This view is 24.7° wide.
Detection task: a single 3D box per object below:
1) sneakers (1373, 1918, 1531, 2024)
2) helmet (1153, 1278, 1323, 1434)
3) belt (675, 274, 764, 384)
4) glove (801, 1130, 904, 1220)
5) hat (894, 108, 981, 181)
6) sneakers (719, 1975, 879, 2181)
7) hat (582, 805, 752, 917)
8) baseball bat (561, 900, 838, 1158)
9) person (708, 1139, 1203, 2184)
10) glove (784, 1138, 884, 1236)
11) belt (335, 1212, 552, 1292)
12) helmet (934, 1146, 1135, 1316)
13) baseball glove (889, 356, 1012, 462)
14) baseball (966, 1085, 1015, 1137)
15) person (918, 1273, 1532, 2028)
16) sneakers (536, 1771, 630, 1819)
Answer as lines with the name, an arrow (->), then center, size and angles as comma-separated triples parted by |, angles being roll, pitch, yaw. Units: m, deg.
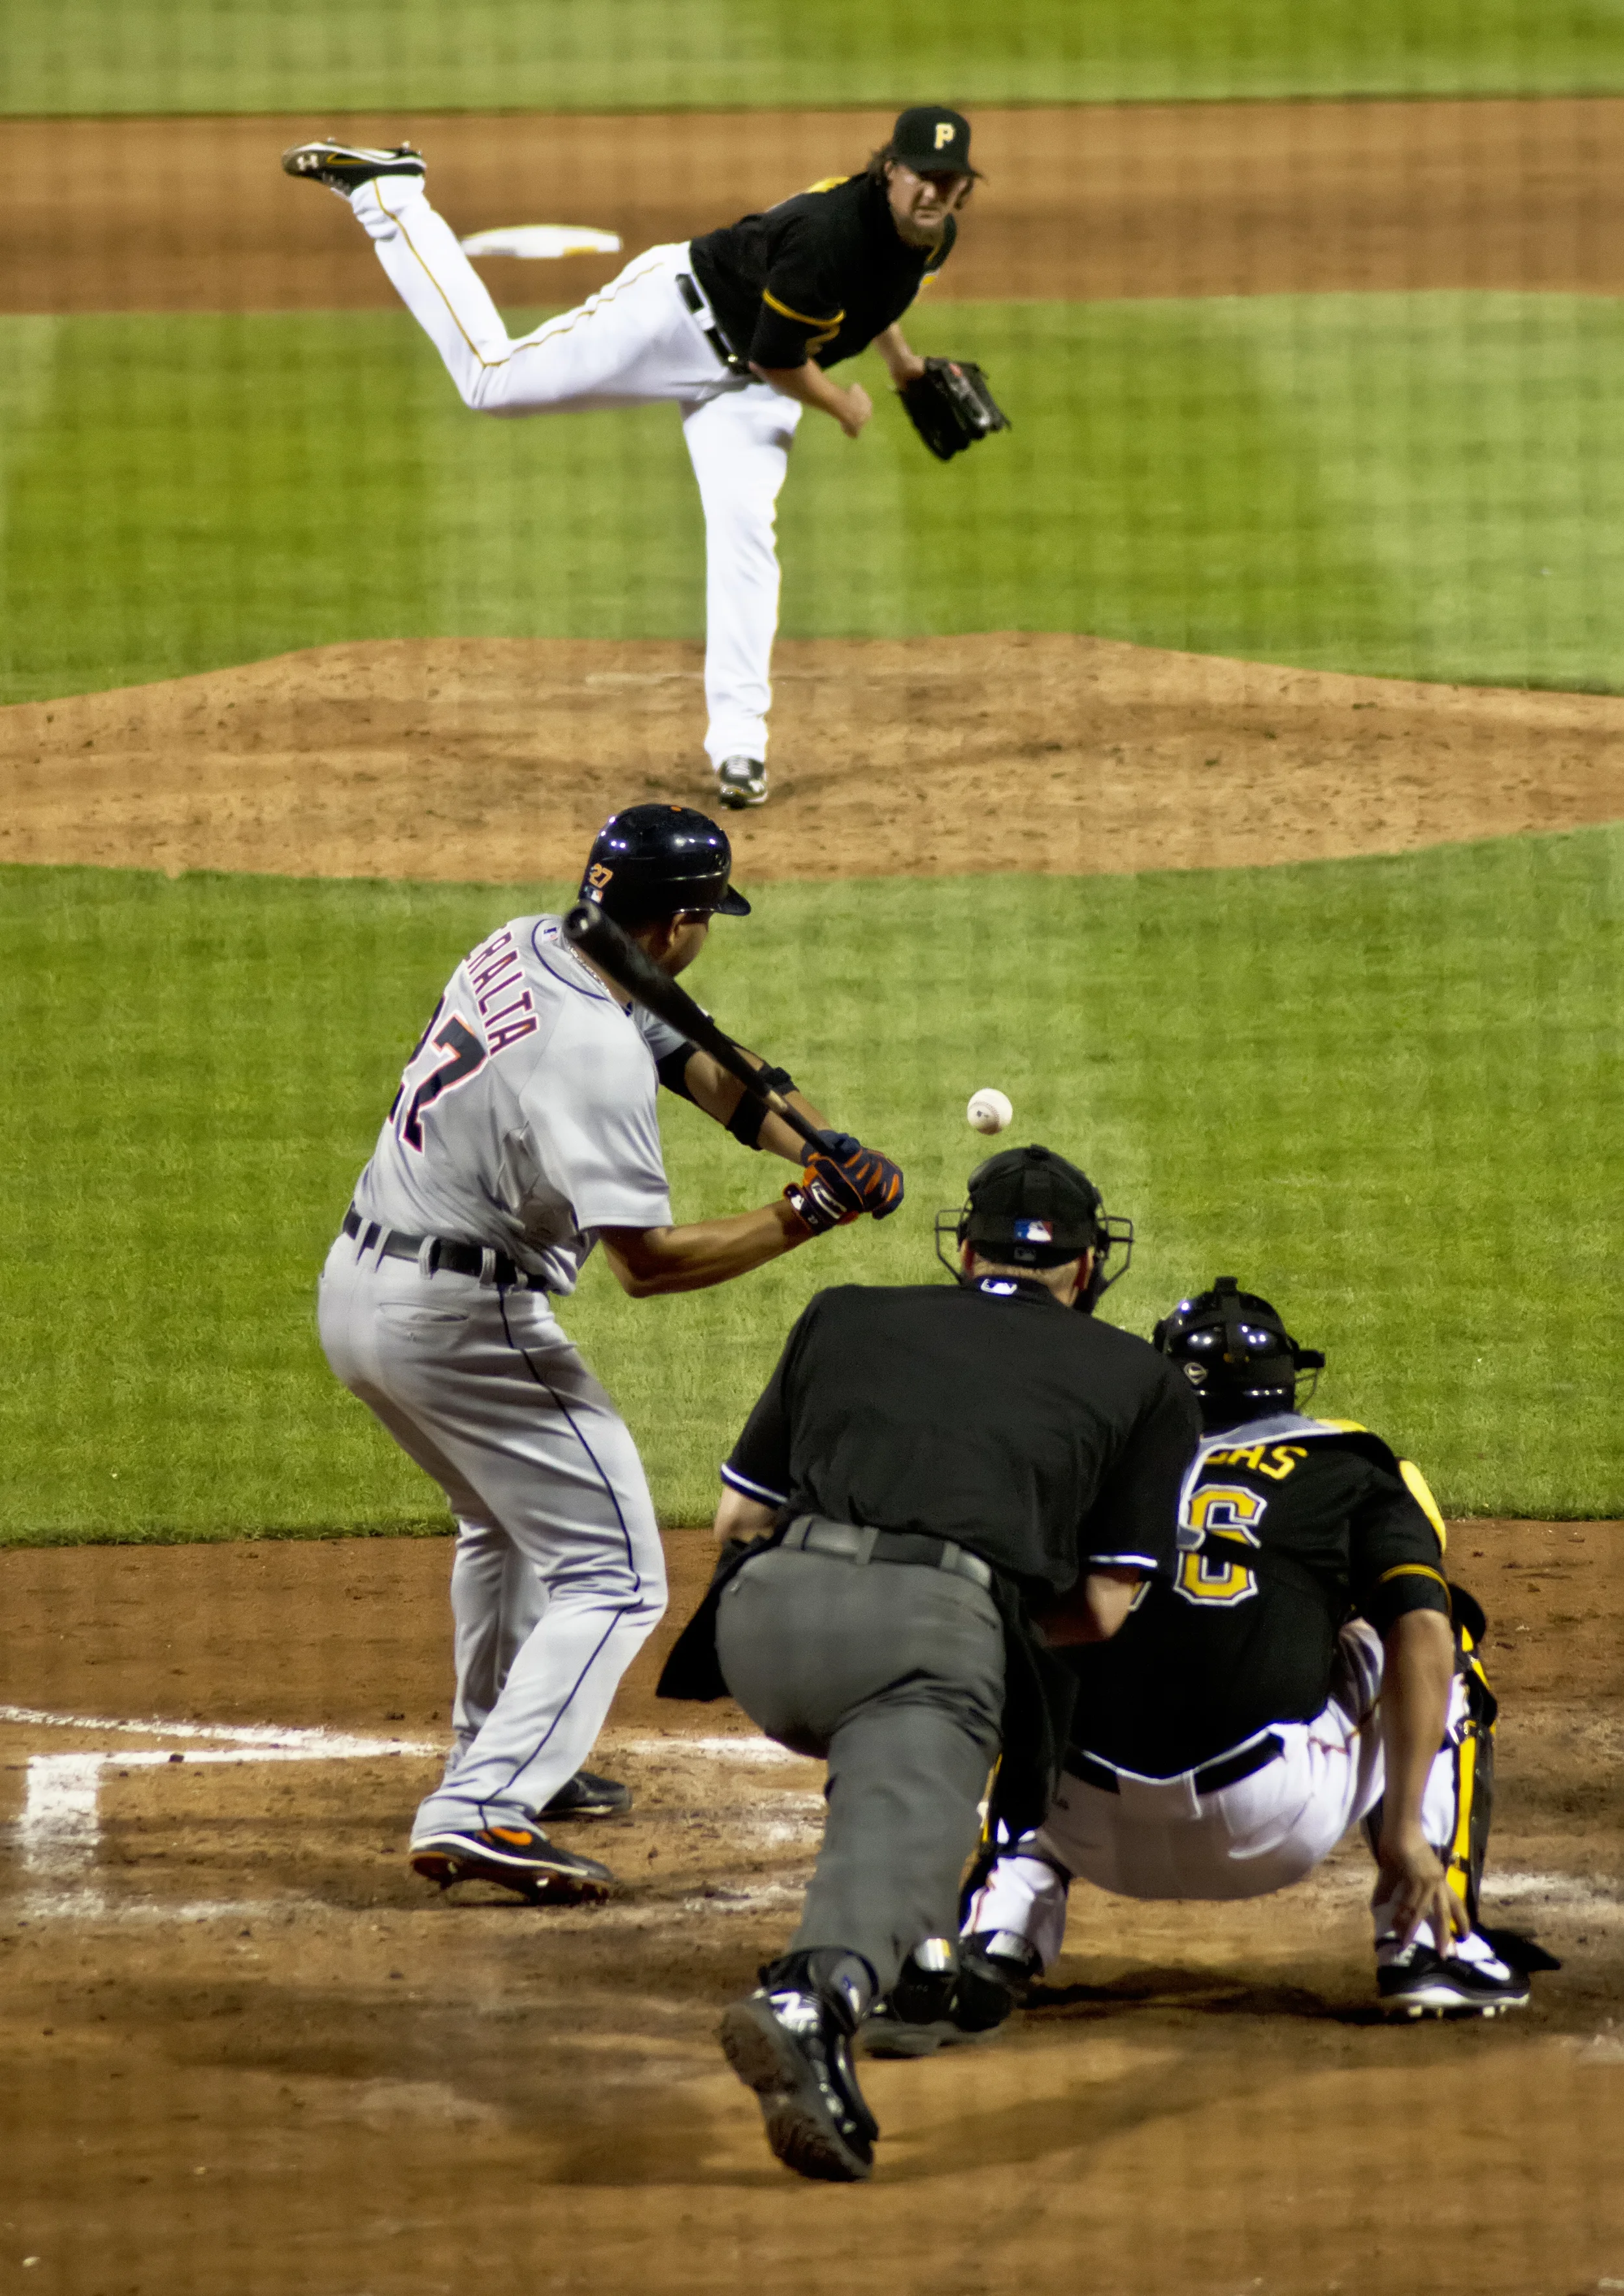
sneakers -> 1.009, 1.236, 5.606 | 0.305, 0.170, 0.100 | 1, -1, -16
helmet -> 0.685, 0.326, 5.910 | 0.217, 0.210, 0.262 | 2, 15, 3
belt -> -0.252, -2.180, 9.727 | 0.159, 0.245, 0.097 | -4, 14, -16
glove -> 0.061, 0.033, 6.076 | 0.151, 0.065, 0.112 | 29, -14, 27
hat -> 0.301, -2.385, 8.778 | 0.145, 0.109, 0.194 | 11, 12, -18
sneakers -> -0.013, 1.175, 4.715 | 0.190, 0.269, 0.177 | 0, 13, 0
hat -> -0.231, -0.455, 6.007 | 0.249, 0.118, 0.158 | -8, 34, -18
baseball bat -> -0.149, -0.162, 6.101 | 0.793, 0.103, 0.098 | 47, -7, -34
person -> 0.194, 0.737, 5.027 | 0.683, 0.953, 0.883 | 0, 12, 2
glove -> 0.067, 0.051, 6.084 | 0.175, 0.148, 0.078 | -11, 4, 11
belt -> -0.580, 0.166, 5.907 | 0.174, 0.036, 0.160 | 18, 5, 29
helmet -> 0.325, 0.107, 5.482 | 0.288, 0.209, 0.269 | 8, 1, -1
baseball glove -> 0.379, -1.915, 9.603 | 0.260, 0.248, 0.280 | 2, 12, 9
baseball -> 0.296, -0.067, 6.373 | 0.090, 0.078, 0.108 | 19, 1, 8
person -> 0.645, 0.818, 5.948 | 1.071, 1.099, 0.940 | -11, -23, 43
sneakers -> -0.371, 1.132, 6.577 | 0.192, 0.068, 0.081 | -8, 13, -18
